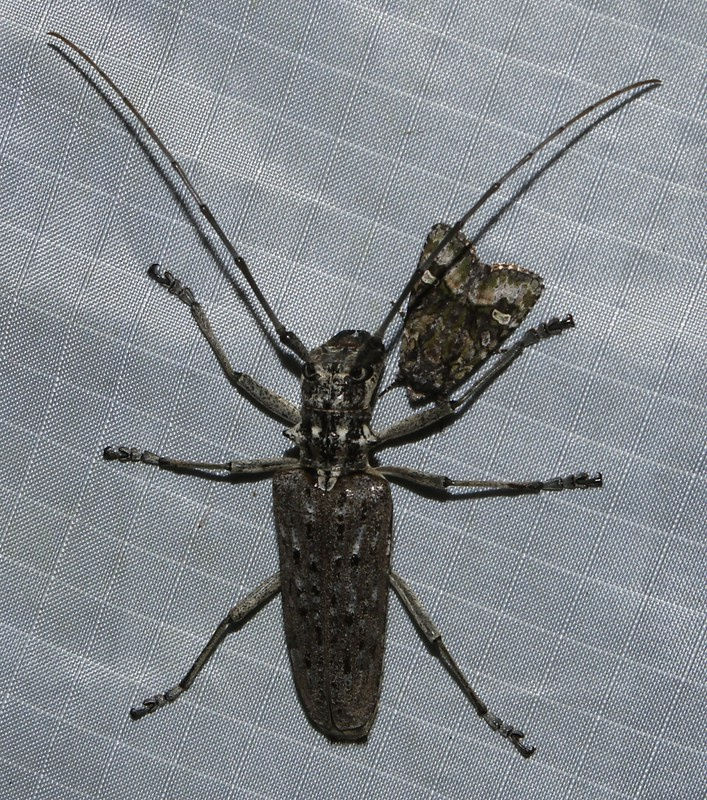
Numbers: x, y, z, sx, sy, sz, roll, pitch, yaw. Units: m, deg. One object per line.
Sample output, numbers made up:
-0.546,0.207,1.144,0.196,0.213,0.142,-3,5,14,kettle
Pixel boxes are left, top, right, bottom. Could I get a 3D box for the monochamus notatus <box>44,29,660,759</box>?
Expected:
0.123,0.099,6.770,4.338,1.188,3.937,3,88,1,monochamus notatus
